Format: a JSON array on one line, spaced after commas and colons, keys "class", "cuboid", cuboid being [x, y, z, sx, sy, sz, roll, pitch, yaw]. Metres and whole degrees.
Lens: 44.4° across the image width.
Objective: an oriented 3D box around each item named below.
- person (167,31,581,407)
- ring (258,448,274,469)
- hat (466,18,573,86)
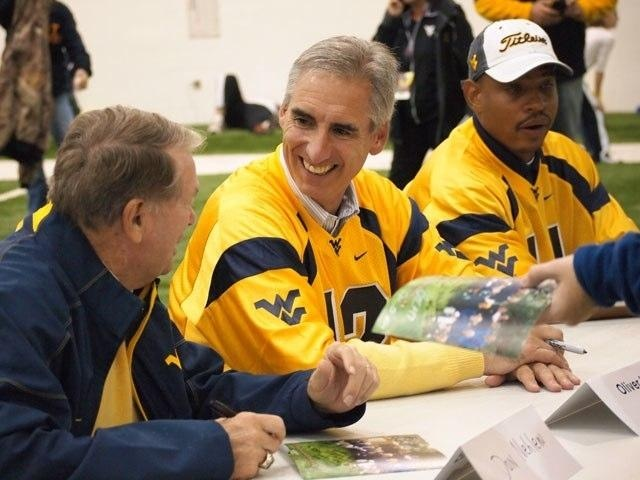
[{"class": "person", "cuboid": [0.106, -0.129, 2.860, 1.398, 1.087, 1.039, 3, 10, 34]}, {"class": "ring", "cuboid": [-0.142, 0.582, 2.074, 0.032, 0.016, 0.043, -39, 18, 33]}, {"class": "hat", "cuboid": [0.837, -0.772, 3.328, 0.279, 0.194, 0.378, -13, 15, -22]}]
